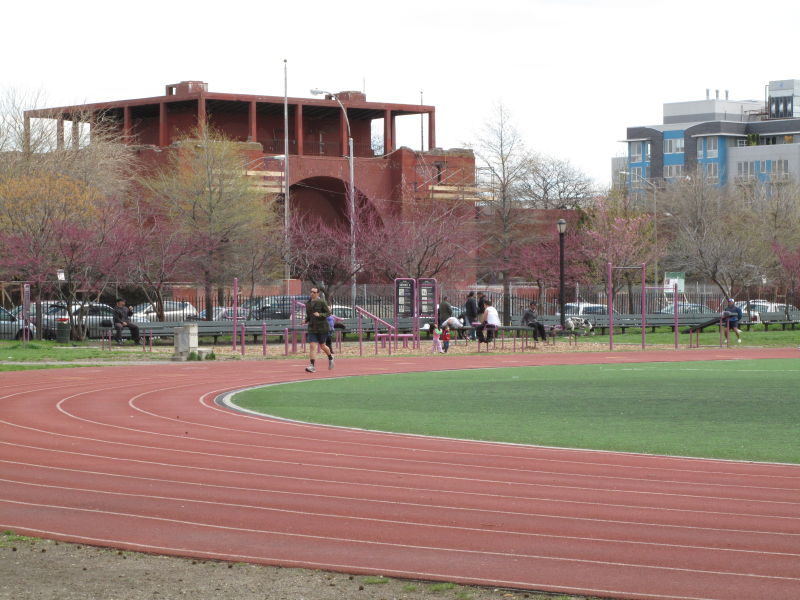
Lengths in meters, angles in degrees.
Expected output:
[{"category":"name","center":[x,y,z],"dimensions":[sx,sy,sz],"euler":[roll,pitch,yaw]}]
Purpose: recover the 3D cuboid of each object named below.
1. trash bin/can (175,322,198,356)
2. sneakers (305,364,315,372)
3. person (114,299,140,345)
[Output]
[{"category":"trash bin/can","center":[-5.726,1.084,34.385],"dimensions":[0.602,0.886,1.052],"euler":[-2,4,-12]},{"category":"sneakers","center":[-1.986,1.552,28.553],"dimensions":[0.121,0.146,0.334],"euler":[1,3,-7]},{"category":"person","center":[-8.672,0.678,40.331],"dimensions":[0.800,1.303,0.785],"euler":[13,20,29]}]
